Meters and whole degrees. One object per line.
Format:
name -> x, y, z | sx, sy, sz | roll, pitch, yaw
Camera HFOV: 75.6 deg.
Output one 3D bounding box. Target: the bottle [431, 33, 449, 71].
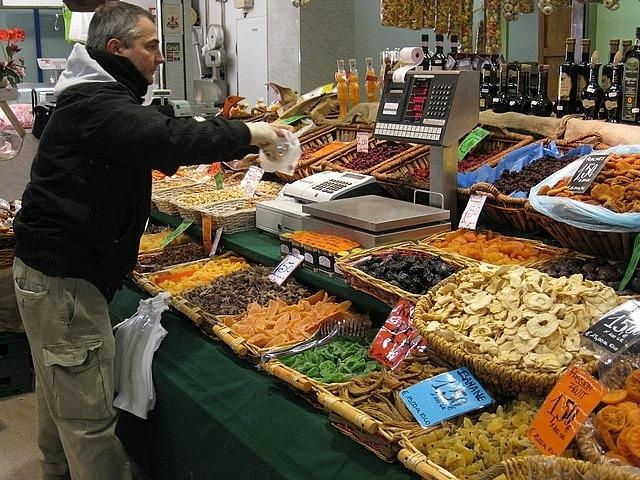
bottle -> 0.902, -1.418, 3.139 | 0.119, 0.281, 0.446 | 2, 16, 15
